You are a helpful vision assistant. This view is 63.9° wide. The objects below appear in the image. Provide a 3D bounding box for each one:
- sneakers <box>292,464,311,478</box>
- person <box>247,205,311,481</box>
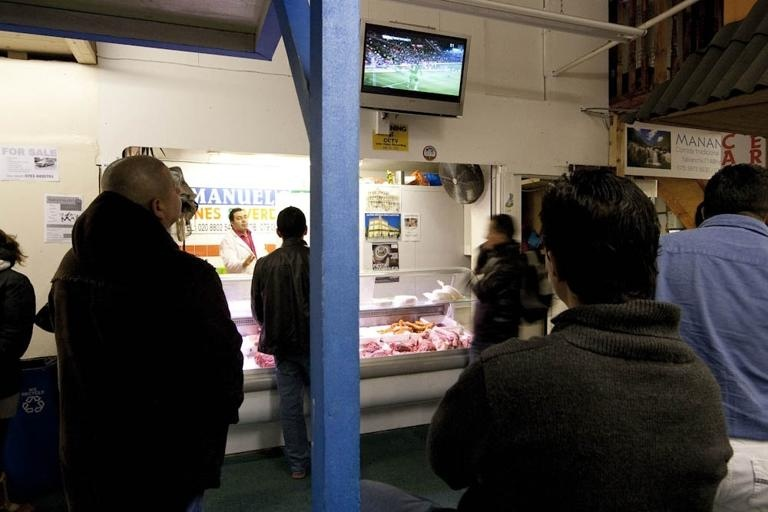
[{"bbox_3d":[-0.634,1.627,4.666,0.090,0.061,0.226,2,-11,-1],"label":"sneakers"},{"bbox_3d":[-0.725,0.638,4.727,0.429,1.995,0.536,-6,8,-27],"label":"person"}]
